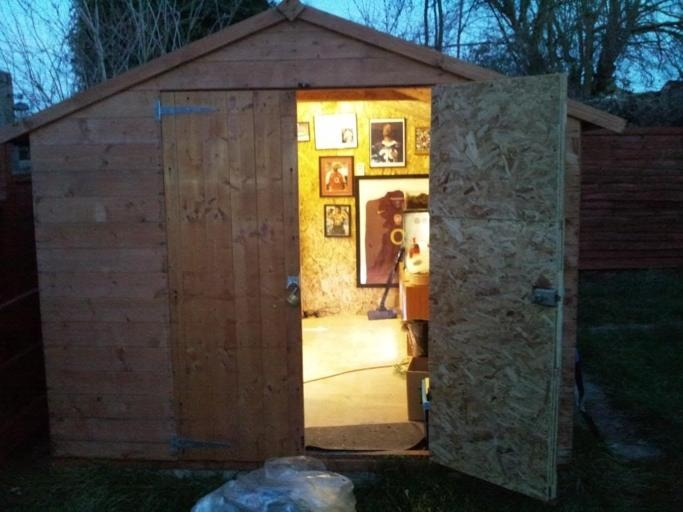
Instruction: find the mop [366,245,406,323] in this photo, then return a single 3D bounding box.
[{"bbox_3d":[0.708,0.449,10.329,0.450,1.185,0.408,3,10,1],"label":"mop"}]
